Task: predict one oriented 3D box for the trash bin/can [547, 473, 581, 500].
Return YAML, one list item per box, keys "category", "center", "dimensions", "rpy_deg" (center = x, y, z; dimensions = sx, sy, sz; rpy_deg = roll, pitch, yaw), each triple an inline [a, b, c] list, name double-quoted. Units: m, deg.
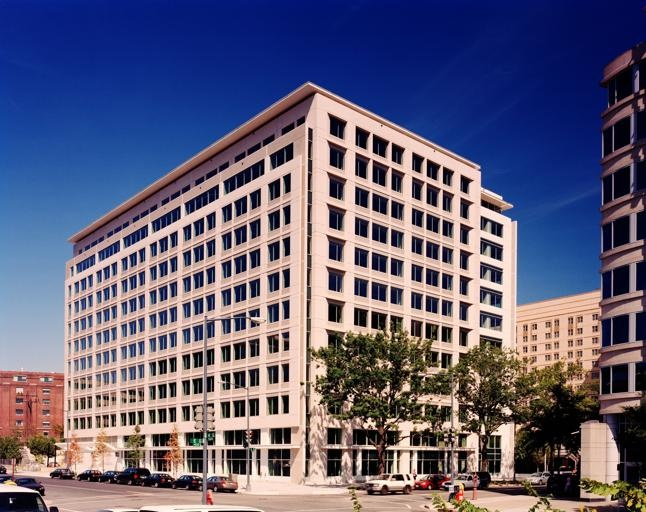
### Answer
- category: "trash bin/can"
  center: [23.567, 22.431, 104.420]
  dimensions: [2.906, 2.851, 3.928]
  rpy_deg: [7, -21, -17]
